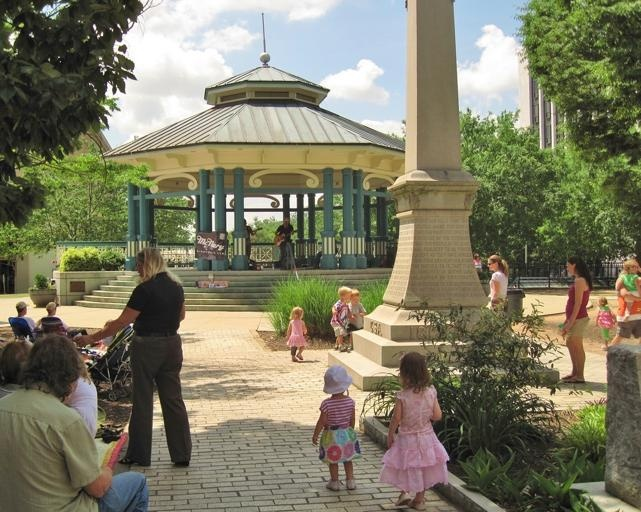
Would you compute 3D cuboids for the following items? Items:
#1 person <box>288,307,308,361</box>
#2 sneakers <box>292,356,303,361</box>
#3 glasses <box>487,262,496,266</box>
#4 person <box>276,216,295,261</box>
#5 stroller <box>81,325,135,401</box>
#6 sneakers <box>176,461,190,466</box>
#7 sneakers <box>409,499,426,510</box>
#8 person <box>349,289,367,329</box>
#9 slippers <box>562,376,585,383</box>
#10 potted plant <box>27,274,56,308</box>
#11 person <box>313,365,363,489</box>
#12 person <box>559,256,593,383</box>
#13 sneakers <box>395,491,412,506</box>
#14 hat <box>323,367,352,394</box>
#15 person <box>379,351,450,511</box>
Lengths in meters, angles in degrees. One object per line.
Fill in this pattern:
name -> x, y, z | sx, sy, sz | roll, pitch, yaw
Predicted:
person -> -0.434, 1.416, 11.796 | 0.305, 0.953, 0.751 | 0, 0, -2
sneakers -> -0.419, 1.851, 11.584 | 0.185, 0.091, 0.078 | -2, -1, 22
glasses -> 3.201, 0.153, 11.955 | 0.113, 0.040, 0.126 | 5, 1, 2
person -> -1.395, -0.560, 25.167 | 0.860, 2.231, 0.280 | 0, -15, 1
stroller -> -2.815, 1.465, 9.231 | 1.063, 1.245, 0.940 | 2, -4, -16
sneakers -> -1.360, 2.041, 6.299 | 0.110, 0.054, 0.051 | 4, -2, 17
sneakers -> 0.817, 2.078, 5.388 | 0.122, 0.074, 0.089 | 0, -1, 6
person -> 0.679, 0.995, 11.744 | 0.254, 0.729, 0.772 | 0, -1, 3
slippers -> 3.605, 1.767, 9.133 | 0.274, 0.076, 0.117 | 3, -2, -2
potted plant -> -10.132, 1.235, 23.157 | 0.850, 1.106, 0.905 | -2, 3, -4
person -> 0.142, 1.533, 5.769 | 0.444, 1.099, 0.282 | 0, 0, -10
person -> 3.729, 0.914, 9.289 | 0.467, 1.814, 0.492 | 1, -2, 4
sneakers -> 0.716, 2.046, 5.468 | 0.139, 0.116, 0.149 | 0, -1, 5
hat -> 0.147, 1.118, 5.787 | 0.241, 0.270, 0.211 | 0, 0, -8
person -> 0.785, 1.384, 5.434 | 0.552, 1.147, 0.238 | 0, 0, -20
